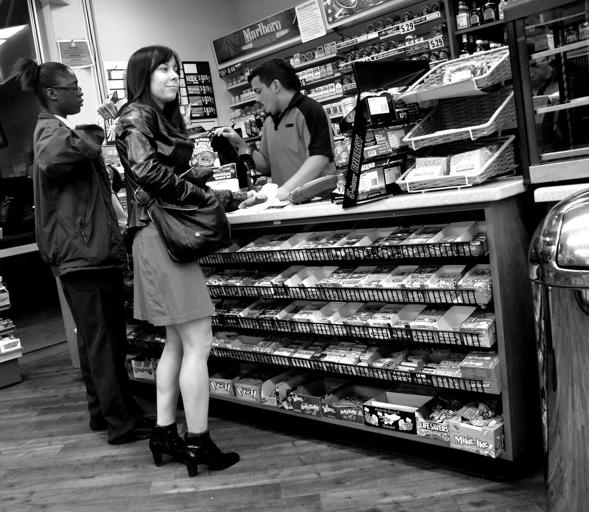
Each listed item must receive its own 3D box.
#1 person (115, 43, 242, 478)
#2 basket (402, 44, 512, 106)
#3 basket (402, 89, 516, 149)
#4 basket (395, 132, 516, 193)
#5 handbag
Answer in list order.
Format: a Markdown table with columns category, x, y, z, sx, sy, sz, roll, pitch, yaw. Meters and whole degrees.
| category | x | y | z | sx | sy | sz | roll | pitch | yaw |
| --- | --- | --- | --- | --- | --- | --- | --- | --- | --- |
| person | -0.566 | 0.060 | 2.339 | 0.398 | 1.990 | 0.491 | -15 | 9 | -42 |
| basket | 0.700 | -0.737 | 1.996 | 0.330 | 0.100 | 0.307 | -40 | 21 | -33 |
| basket | 0.708 | -0.573 | 2.119 | 0.306 | 0.136 | 0.375 | -4 | 32 | 38 |
| basket | 0.672 | -0.394 | 2.044 | 0.282 | 0.115 | 0.341 | -13 | 21 | 24 |
| handbag | -0.443 | -0.138 | 2.102 | 0.291 | 0.303 | 0.119 | -13 | -13 | -21 |
